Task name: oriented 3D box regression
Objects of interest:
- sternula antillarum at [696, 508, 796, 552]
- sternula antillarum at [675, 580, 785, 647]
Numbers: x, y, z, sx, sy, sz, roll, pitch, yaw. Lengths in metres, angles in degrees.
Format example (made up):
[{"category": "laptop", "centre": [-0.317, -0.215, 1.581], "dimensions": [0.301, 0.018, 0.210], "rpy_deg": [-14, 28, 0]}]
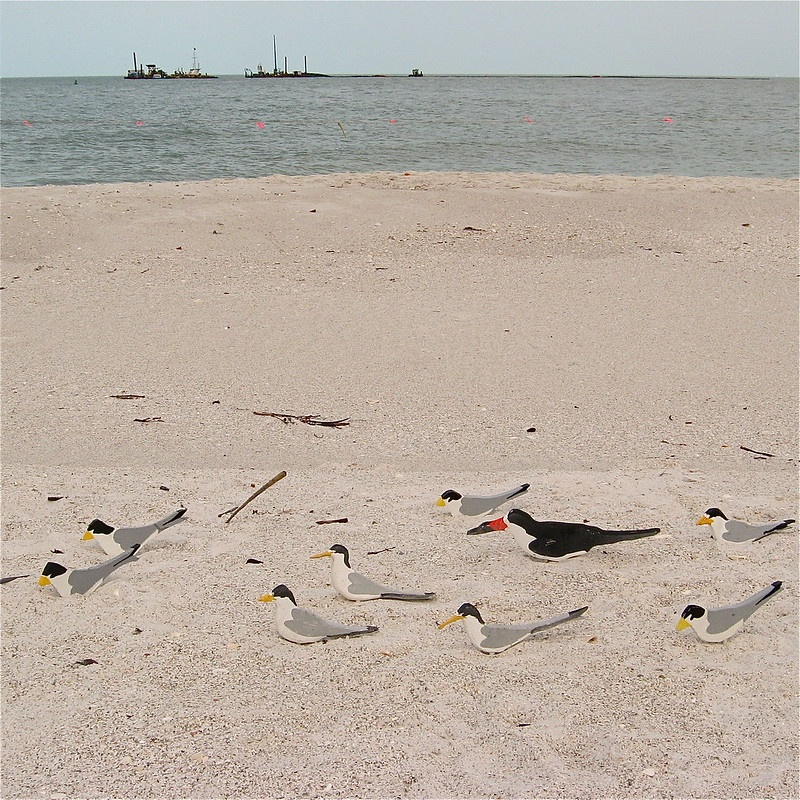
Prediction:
[{"category": "sternula antillarum", "centre": [2.347, 0.843, 7.504], "dimensions": [0.649, 0.185, 0.247], "rpy_deg": [-2, 20, 1]}, {"category": "sternula antillarum", "centre": [1.924, 1.232, 6.542], "dimensions": [0.642, 0.314, 0.200], "rpy_deg": [-10, 24, -22]}]
